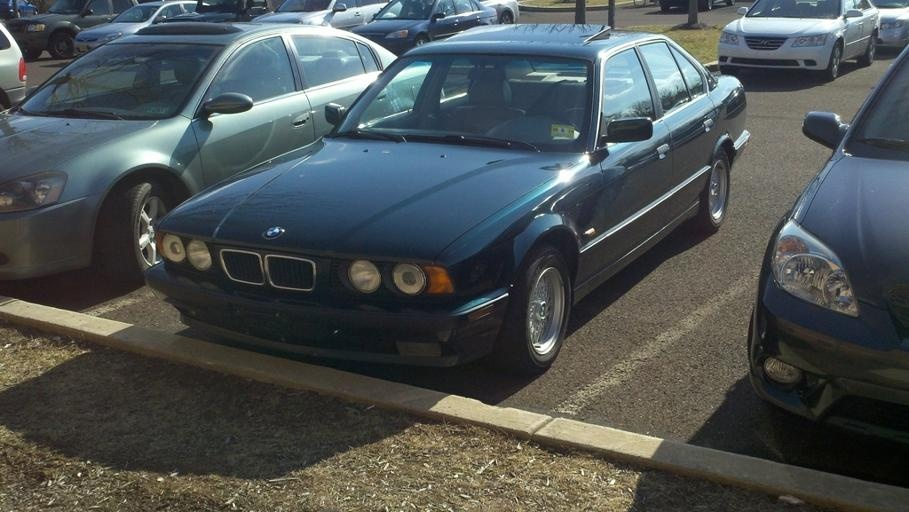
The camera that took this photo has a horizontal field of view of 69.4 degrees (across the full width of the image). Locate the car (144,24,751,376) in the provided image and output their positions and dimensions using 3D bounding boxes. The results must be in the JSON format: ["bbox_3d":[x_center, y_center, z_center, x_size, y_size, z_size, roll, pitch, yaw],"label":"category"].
[{"bbox_3d":[0.700,-0.770,6.193,2.626,1.558,5.379,15,28,36],"label":"car"}]

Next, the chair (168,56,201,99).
[{"bbox_3d":[-2.884,-1.924,7.063,0.294,0.464,0.135,5,-12,-4],"label":"chair"}]
